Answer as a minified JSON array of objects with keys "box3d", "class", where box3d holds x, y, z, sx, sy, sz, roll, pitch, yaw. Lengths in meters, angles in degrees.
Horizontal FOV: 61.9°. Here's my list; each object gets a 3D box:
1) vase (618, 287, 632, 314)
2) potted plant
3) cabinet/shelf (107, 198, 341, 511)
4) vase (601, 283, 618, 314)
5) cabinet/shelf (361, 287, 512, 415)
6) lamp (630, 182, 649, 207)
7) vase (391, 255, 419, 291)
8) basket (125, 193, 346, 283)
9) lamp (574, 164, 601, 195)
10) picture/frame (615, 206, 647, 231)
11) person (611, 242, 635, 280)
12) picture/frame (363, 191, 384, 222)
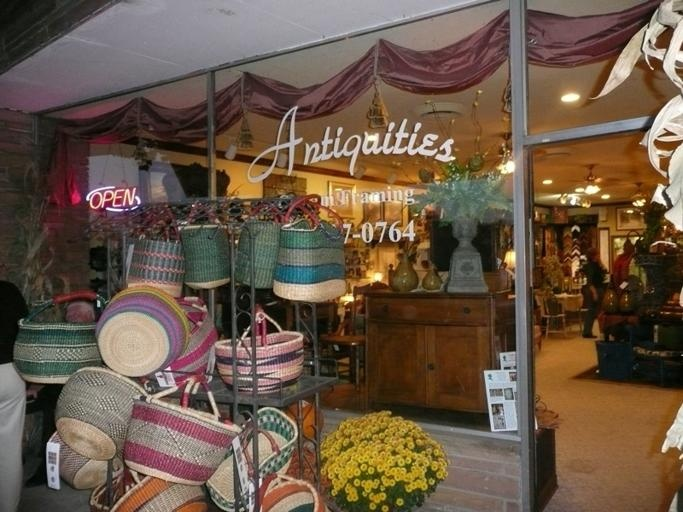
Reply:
[{"box3d":[4.313,0.704,8.668,0.163,0.345,0.380,0,0,26],"class":"vase"},{"box3d":[0.934,-0.207,4.423,0.848,1.029,0.844,0,-3,0],"class":"potted plant"},{"box3d":[-0.683,0.615,3.142,1.213,1.656,0.693,0,0,-22],"class":"cabinet/shelf"},{"box3d":[4.151,0.696,8.817,0.215,0.400,0.214,0,0,16],"class":"vase"},{"box3d":[0.896,0.737,4.750,1.421,1.235,0.837,-3,-11,28],"class":"cabinet/shelf"},{"box3d":[6.797,-1.430,13.013,0.477,0.407,0.471,-4,4,-40],"class":"lamp"},{"box3d":[0.515,0.152,4.631,0.225,0.308,0.221,0,-4,-27],"class":"vase"},{"box3d":[-0.636,-0.097,3.259,1.013,0.376,0.592,0,1,6],"class":"basket"},{"box3d":[4.434,-1.400,10.280,0.455,0.334,0.450,-3,3,-34],"class":"lamp"},{"box3d":[7.777,-1.024,15.268,0.031,0.839,0.857,-14,15,-37],"class":"picture/frame"},{"box3d":[4.624,0.100,9.373,0.298,0.729,0.624,0,0,26],"class":"person"},{"box3d":[0.263,-0.403,4.522,0.223,0.305,0.031,4,10,23],"class":"picture/frame"}]
